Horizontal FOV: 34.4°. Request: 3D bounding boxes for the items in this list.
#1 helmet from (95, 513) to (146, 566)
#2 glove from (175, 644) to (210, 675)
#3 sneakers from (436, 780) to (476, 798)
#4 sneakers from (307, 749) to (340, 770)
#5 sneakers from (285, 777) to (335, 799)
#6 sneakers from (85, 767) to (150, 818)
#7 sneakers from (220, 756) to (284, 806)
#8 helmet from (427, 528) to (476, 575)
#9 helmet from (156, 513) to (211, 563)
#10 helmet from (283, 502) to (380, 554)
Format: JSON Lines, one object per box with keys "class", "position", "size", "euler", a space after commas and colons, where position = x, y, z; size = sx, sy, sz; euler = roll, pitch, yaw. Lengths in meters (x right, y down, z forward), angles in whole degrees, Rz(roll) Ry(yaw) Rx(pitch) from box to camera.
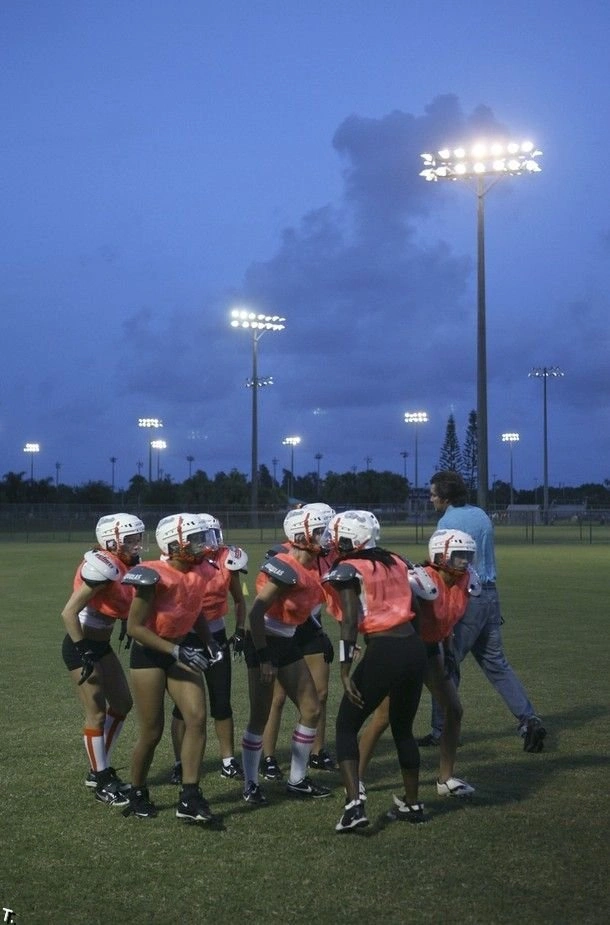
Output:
{"class": "helmet", "position": [-1.224, 0.462, 6.130], "size": [0.350, 0.364, 0.280], "euler": [0, 3, 5]}
{"class": "glove", "position": [-0.617, 1.037, 5.190], "size": [0.157, 0.149, 0.141], "euler": [-1, 0, -9]}
{"class": "sneakers", "position": [0.887, 1.860, 5.705], "size": [0.197, 0.093, 0.107], "euler": [-1, -7, 6]}
{"class": "sneakers", "position": [0.127, 1.998, 6.667], "size": [0.225, 0.102, 0.081], "euler": [0, 4, -24]}
{"class": "sneakers", "position": [0.017, 1.948, 5.954], "size": [0.291, 0.128, 0.108], "euler": [1, -4, 12]}
{"class": "sneakers", "position": [-1.087, 1.901, 5.673], "size": [0.497, 0.222, 0.175], "euler": [9, 5, 31]}
{"class": "sneakers", "position": [-0.369, 1.954, 6.086], "size": [0.158, 0.224, 0.478], "euler": [2, -6, -33]}
{"class": "helmet", "position": [0.865, 0.486, 5.783], "size": [0.252, 0.252, 0.198], "euler": [-4, -8, 25]}
{"class": "helmet", "position": [-0.722, 0.379, 5.488], "size": [0.278, 0.255, 0.261], "euler": [-14, 0, 4]}
{"class": "helmet", "position": [0.139, 0.360, 5.421], "size": [0.438, 0.210, 0.306], "euler": [-1, -2, 21]}
